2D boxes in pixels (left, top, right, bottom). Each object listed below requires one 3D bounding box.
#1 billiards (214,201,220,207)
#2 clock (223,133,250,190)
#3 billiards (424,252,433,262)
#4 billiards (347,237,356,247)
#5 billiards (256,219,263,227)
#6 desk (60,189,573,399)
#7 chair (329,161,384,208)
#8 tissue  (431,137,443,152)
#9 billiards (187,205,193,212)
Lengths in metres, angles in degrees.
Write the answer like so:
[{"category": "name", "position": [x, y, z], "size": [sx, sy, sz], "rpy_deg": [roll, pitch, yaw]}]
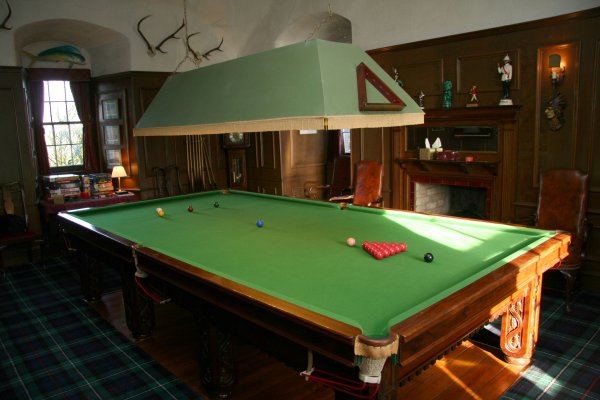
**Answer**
[{"category": "billiards", "position": [-1.083, 0.053, 5.907], "size": [0.069, 0.064, 0.073], "rpy_deg": [0, 11, -15]}, {"category": "clock", "position": [-1.302, -0.813, 9.429], "size": [0.672, 1.160, 0.180], "rpy_deg": [6, 15, 36]}, {"category": "billiards", "position": [1.137, 0.506, 3.962], "size": [0.077, 0.052, 0.076], "rpy_deg": [-11, 20, -30]}, {"category": "billiards", "position": [0.506, 0.405, 4.369], "size": [0.073, 0.041, 0.074], "rpy_deg": [-42, 7, 37]}, {"category": "billiards", "position": [-0.428, 0.265, 5.015], "size": [0.068, 0.078, 0.071], "rpy_deg": [-17, 39, -38]}, {"category": "desk", "position": [0.091, 0.993, 4.735], "size": [4.435, 1.487, 2.398], "rpy_deg": [6, 15, 35]}, {"category": "chair", "position": [0.984, -0.086, 7.167], "size": [0.655, 1.049, 0.699], "rpy_deg": [12, 7, 32]}, {"category": "tissue ", "position": [2.124, -0.851, 6.883], "size": [0.154, 0.203, 0.114], "rpy_deg": [4, 14, 29]}, {"category": "billiards", "position": [-1.378, 0.107, 5.727], "size": [0.081, 0.053, 0.079], "rpy_deg": [-11, 18, -40]}]
